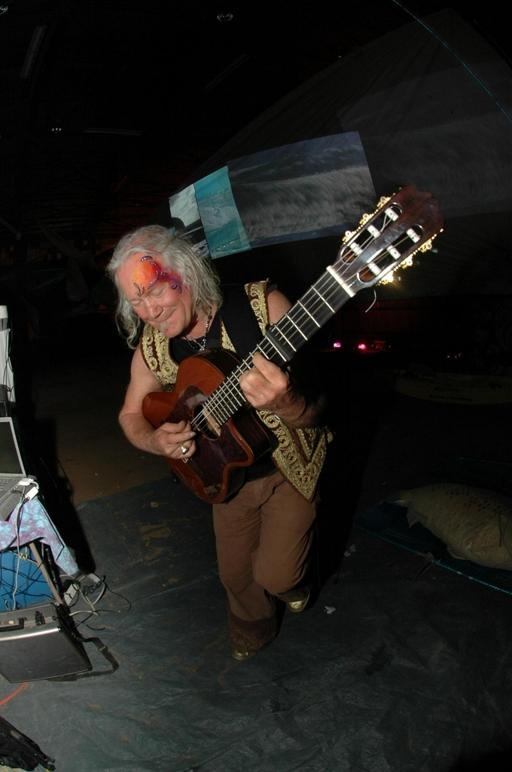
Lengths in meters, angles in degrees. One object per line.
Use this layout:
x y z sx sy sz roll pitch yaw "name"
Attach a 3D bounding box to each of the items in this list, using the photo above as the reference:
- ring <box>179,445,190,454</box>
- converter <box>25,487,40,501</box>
-0.335 0.288 2.863 0.034 0.039 0.010 10 26 12 "ring"
-1.122 0.528 3.103 0.070 0.016 0.039 -31 71 15 "converter"
